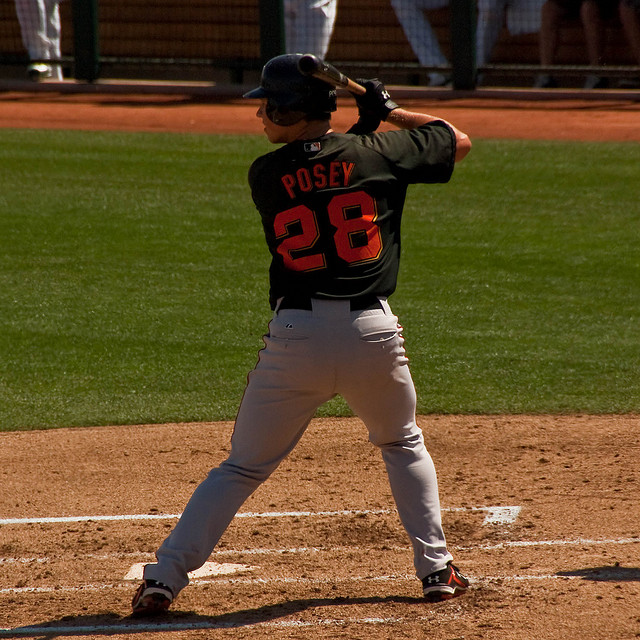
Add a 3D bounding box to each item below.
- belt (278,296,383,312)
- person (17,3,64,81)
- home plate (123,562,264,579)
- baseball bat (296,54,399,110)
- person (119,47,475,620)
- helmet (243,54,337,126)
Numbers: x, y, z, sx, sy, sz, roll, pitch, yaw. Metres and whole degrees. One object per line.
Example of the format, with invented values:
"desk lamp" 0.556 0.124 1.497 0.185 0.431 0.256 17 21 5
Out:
"belt" 0.041 -0.066 6.710 0.430 0.057 0.061 0 12 2
"person" -2.328 -2.343 13.292 0.275 0.216 0.758 -6 -13 -12
"home plate" -0.575 1.150 7.219 0.625 0.008 0.178 -2 28 -3
"baseball bat" 0.046 -1.057 6.853 0.148 0.177 0.453 6 12 28
"person" -0.014 0.086 6.802 1.349 2.409 0.678 1 13 4
"helmet" -0.101 -1.014 6.833 0.463 0.268 0.330 6 25 31
